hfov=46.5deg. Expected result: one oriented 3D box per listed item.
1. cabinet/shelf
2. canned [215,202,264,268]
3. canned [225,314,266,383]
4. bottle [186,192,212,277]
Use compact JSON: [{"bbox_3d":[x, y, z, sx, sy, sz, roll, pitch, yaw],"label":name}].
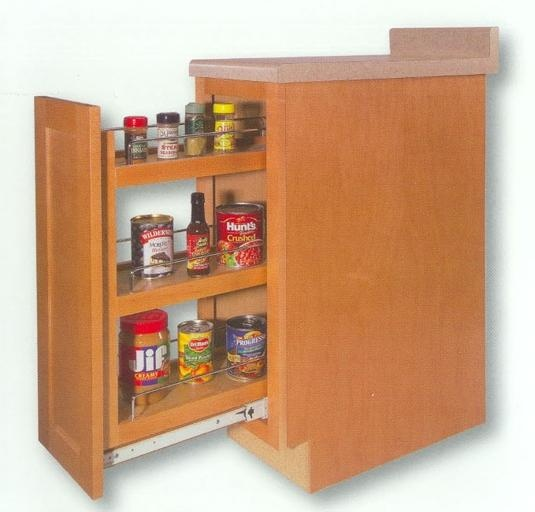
[{"bbox_3d":[-0.137,-0.085,2.141,1.622,1.332,0.882,-7,13,-33],"label":"cabinet/shelf"},{"bbox_3d":[-0.044,-0.055,1.528,0.165,0.143,0.146,1,13,7],"label":"canned"},{"bbox_3d":[-0.053,0.229,1.512,0.147,0.132,0.136,0,3,1],"label":"canned"},{"bbox_3d":[-0.166,-0.056,1.435,0.060,0.182,0.165,-7,12,-5],"label":"bottle"}]
